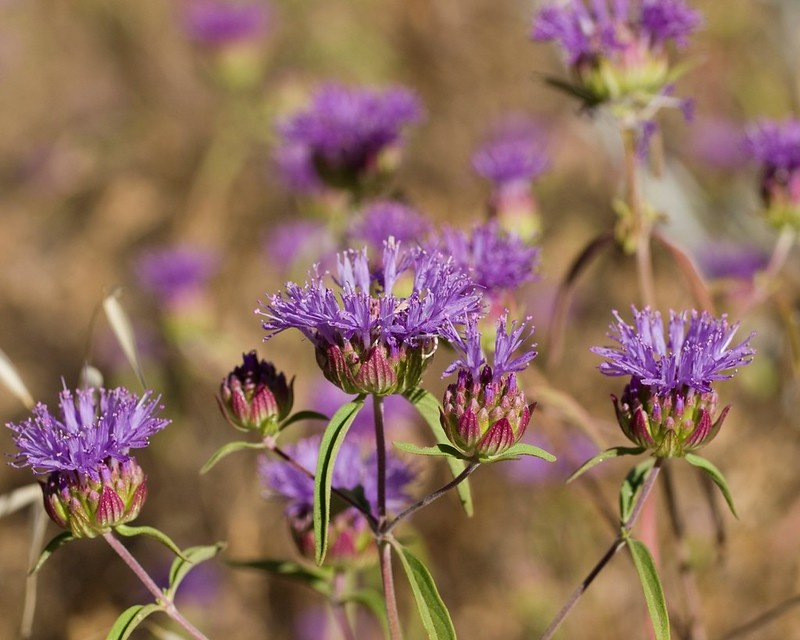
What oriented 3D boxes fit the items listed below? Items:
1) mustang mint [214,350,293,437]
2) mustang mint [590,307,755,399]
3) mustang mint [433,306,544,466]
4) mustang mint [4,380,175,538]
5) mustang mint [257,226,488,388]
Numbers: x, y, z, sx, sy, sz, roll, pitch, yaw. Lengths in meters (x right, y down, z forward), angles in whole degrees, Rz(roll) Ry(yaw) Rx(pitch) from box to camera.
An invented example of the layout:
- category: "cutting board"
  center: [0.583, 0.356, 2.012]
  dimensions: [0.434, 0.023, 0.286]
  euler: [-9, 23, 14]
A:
- category: "mustang mint"
  center: [-0.389, 0.206, 3.135]
  dimensions: [0.188, 0.269, 0.235]
  euler: [-5, -2, -1]
- category: "mustang mint"
  center: [0.746, 0.079, 3.051]
  dimensions: [0.291, 0.161, 0.300]
  euler: [-3, 16, 4]
- category: "mustang mint"
  center: [0.240, 0.181, 2.982]
  dimensions: [0.272, 0.385, 0.300]
  euler: [-5, 14, 1]
- category: "mustang mint"
  center: [-0.841, 0.366, 3.100]
  dimensions: [0.437, 0.384, 0.329]
  euler: [-7, 14, -5]
- category: "mustang mint"
  center: [-0.078, 0.029, 3.083]
  dimensions: [0.511, 0.378, 0.600]
  euler: [-5, 12, -6]
